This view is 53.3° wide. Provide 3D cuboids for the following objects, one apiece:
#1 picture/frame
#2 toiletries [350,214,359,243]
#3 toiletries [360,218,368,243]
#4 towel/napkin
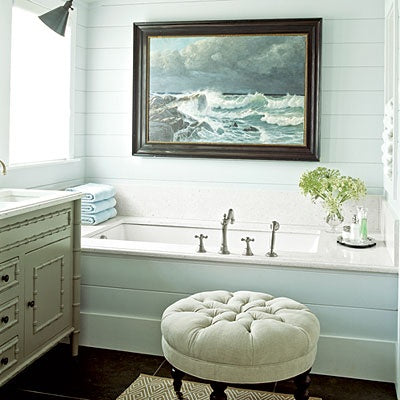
[{"bbox_3d":[0.168,-0.847,3.050,1.454,1.065,0.061,2,5,13],"label":"picture/frame"},{"bbox_3d":[0.954,0.168,2.462,0.058,0.150,0.151,3,5,20],"label":"toiletries"},{"bbox_3d":[1.019,0.179,2.473,0.044,0.139,0.160,3,6,26],"label":"toiletries"},{"bbox_3d":[-0.756,0.022,3.002,0.341,0.303,0.348,6,10,10],"label":"towel/napkin"}]
